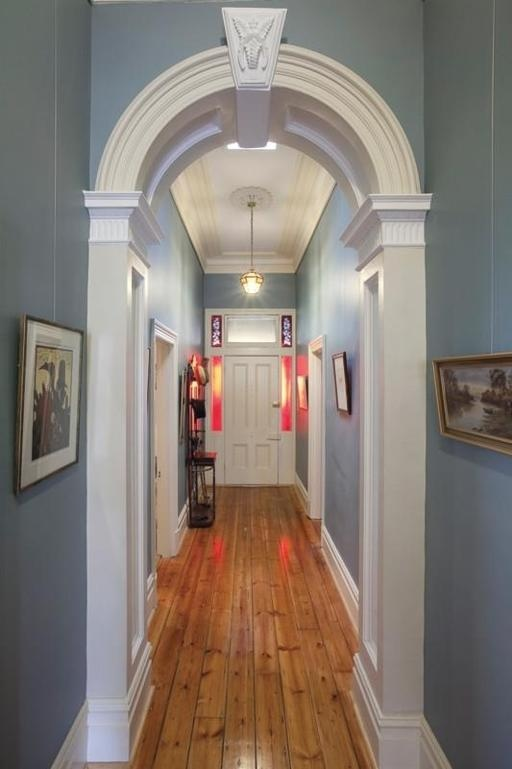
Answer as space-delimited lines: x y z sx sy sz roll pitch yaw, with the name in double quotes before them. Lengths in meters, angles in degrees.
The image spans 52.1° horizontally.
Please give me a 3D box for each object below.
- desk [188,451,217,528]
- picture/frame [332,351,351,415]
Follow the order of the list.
"desk" -0.558 1.038 5.379 0.170 0.710 0.603 0 2 -5
"picture/frame" 0.572 0.005 3.533 0.020 0.398 0.352 -6 -3 22
